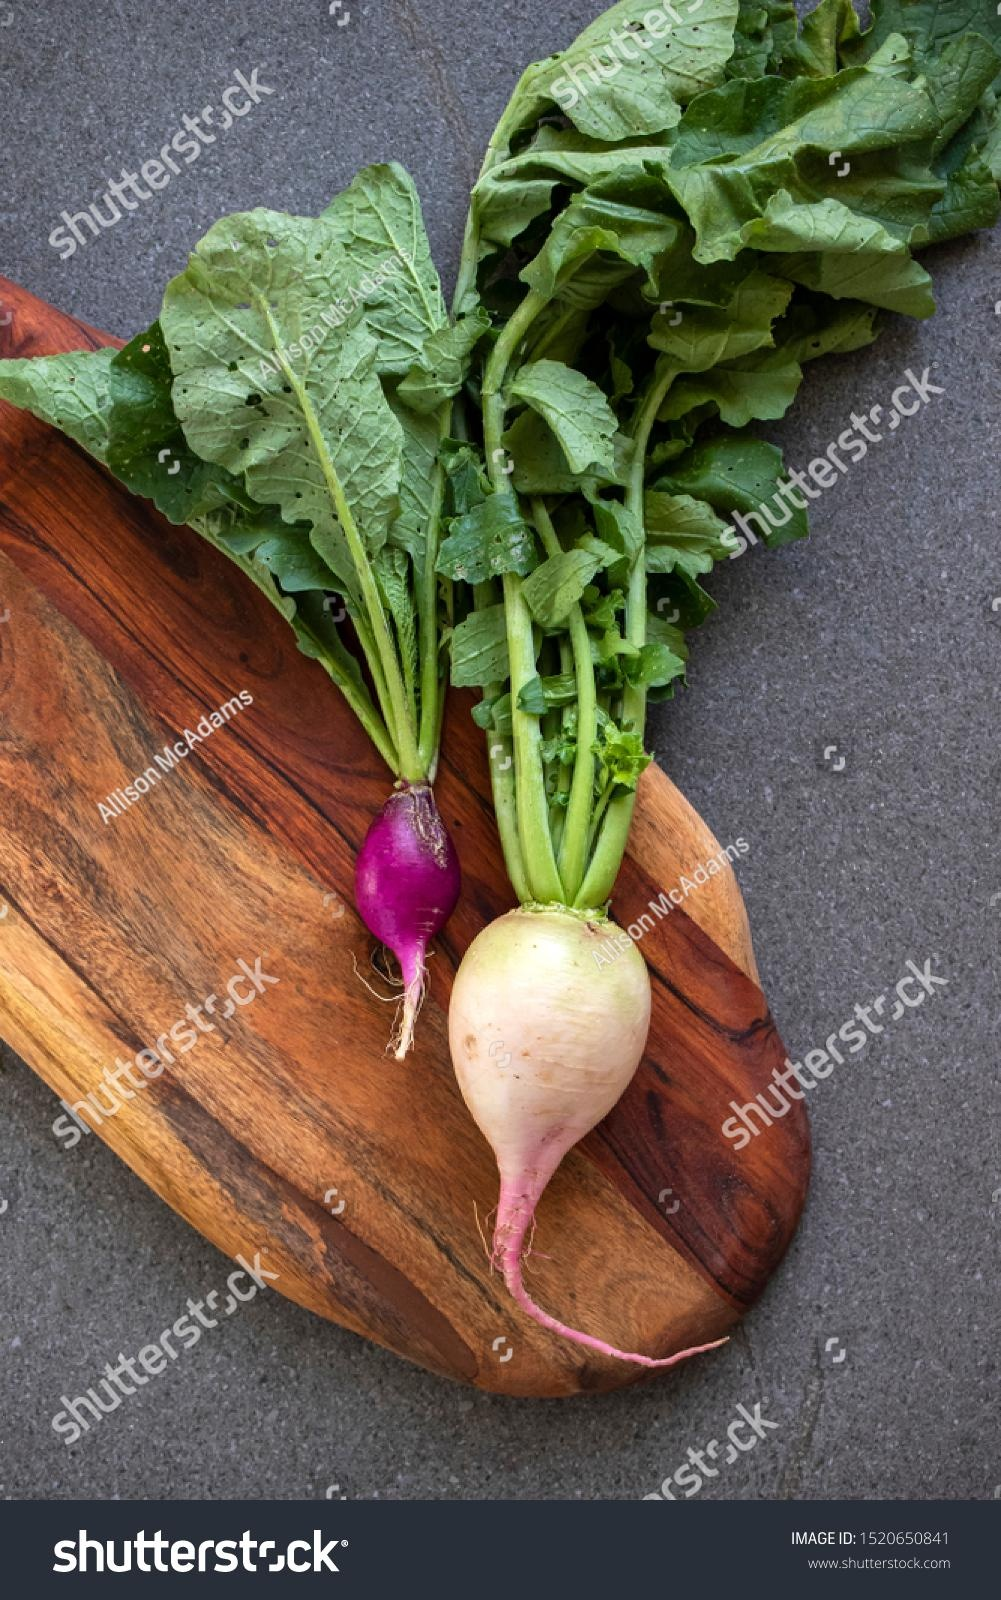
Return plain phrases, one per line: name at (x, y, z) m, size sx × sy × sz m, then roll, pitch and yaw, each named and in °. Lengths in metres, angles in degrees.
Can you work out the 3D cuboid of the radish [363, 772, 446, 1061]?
radish at (-0.079, 0.100, 1.143) m, size 0.068 × 0.068 × 0.195 m, roll -4°, pitch 85°, yaw 46°
